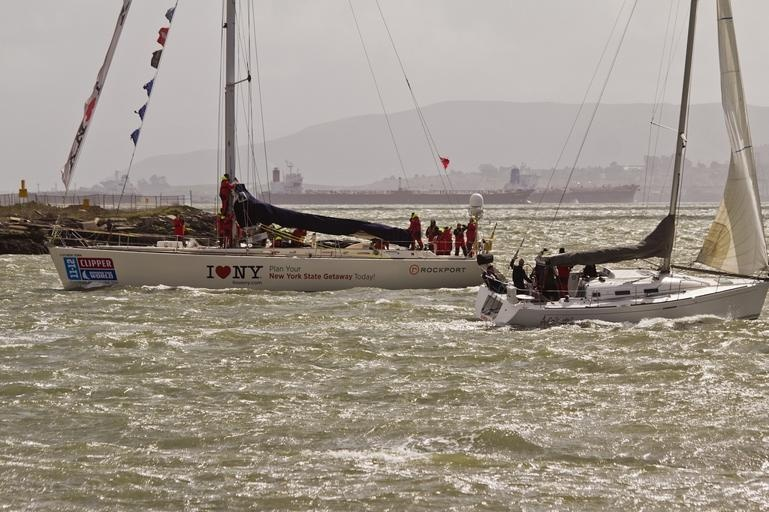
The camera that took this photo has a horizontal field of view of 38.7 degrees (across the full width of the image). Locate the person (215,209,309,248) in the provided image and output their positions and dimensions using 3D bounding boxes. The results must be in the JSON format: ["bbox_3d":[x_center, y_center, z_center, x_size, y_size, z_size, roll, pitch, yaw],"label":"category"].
[{"bbox_3d":[-3.548,-0.662,31.451,2.030,0.920,1.256,2,-2,-6],"label":"person"}]

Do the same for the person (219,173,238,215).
[{"bbox_3d":[-4.344,-1.746,30.631,0.476,1.144,0.735,-1,2,-8],"label":"person"}]

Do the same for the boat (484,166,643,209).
[{"bbox_3d":[41.374,-14.523,223.910,3.615,7.910,27.853,0,1,-34],"label":"boat"}]
